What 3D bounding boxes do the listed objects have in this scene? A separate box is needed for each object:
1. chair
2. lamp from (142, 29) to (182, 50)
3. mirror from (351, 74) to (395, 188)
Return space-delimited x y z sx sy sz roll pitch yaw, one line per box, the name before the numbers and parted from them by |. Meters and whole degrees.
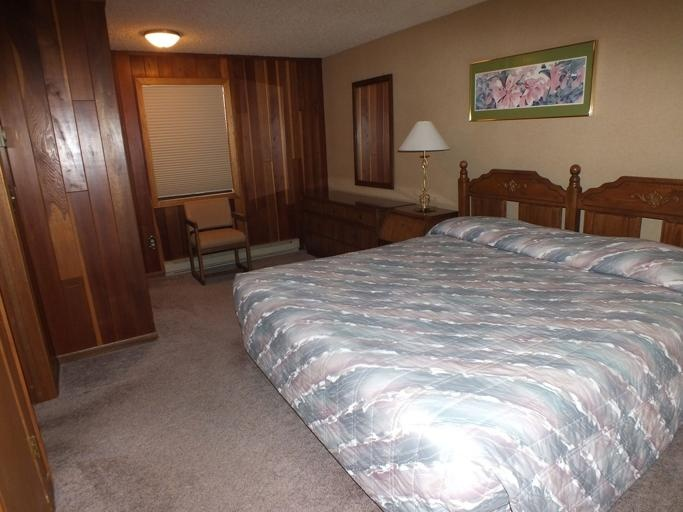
chair | -1.630 -0.244 6.101 0.685 0.967 0.576 -13 21 -30
lamp | -1.918 -2.360 5.061 0.313 0.120 0.385 3 15 20
mirror | 0.409 -1.653 6.214 0.044 1.414 0.977 -11 18 -28
